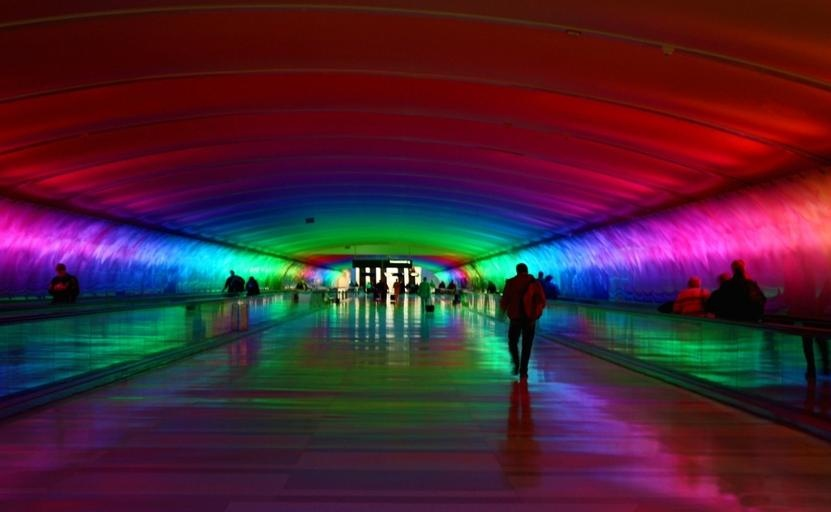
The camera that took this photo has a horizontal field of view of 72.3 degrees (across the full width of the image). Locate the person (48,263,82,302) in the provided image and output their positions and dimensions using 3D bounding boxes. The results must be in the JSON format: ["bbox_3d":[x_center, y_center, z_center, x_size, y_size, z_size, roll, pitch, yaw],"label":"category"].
[{"bbox_3d":[-11.191,0.938,18.074,1.064,1.326,0.854,-9,21,-38],"label":"person"}]

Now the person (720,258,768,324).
[{"bbox_3d":[7.050,0.779,12.537,1.169,1.429,0.891,-9,29,6],"label":"person"}]

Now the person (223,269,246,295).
[{"bbox_3d":[-8.369,1.332,26.391,0.684,1.051,2.477,14,-6,-19],"label":"person"}]
